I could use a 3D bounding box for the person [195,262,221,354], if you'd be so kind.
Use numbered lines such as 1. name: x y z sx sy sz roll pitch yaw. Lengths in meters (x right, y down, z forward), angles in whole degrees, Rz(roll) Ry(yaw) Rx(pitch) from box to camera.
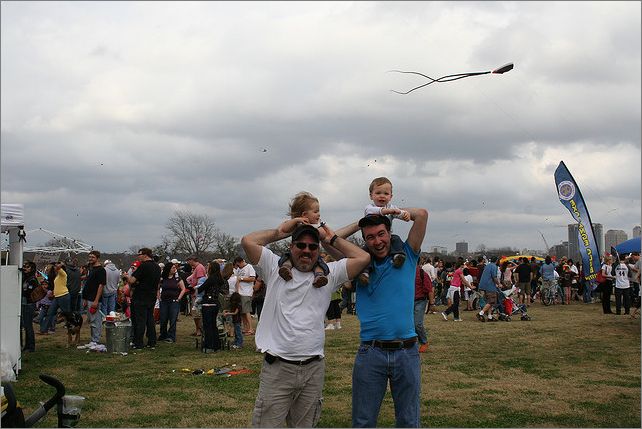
1. person: -3.320 2.737 15.817 0.907 2.603 0.886 5 -7 -42

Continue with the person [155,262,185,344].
1. person: -4.814 2.819 17.195 1.039 2.437 0.792 3 -13 -18

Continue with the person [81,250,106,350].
1. person: -6.866 2.565 16.286 0.654 2.875 1.265 1 -8 -23

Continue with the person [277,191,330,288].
1. person: -0.205 0.408 8.877 0.741 1.498 0.662 8 -24 -4

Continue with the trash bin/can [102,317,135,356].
1. trash bin/can: -5.892 3.499 15.620 0.705 1.113 0.681 1 -8 -22

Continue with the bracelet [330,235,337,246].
1. bracelet: 0.208 0.413 8.680 0.091 0.148 0.148 0 -11 -5

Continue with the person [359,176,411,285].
1. person: 1.110 0.191 9.202 0.804 1.752 1.010 11 -18 -34

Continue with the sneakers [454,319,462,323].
1. sneakers: 5.308 4.075 20.630 0.294 0.121 0.101 0 -2 -7

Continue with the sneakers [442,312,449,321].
1. sneakers: 4.842 3.972 20.813 0.236 0.181 0.548 -14 -43 11

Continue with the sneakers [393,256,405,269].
1. sneakers: 1.282 0.755 8.719 0.111 0.250 0.108 8 13 -14

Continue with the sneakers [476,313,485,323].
1. sneakers: 6.222 4.025 20.694 0.205 0.158 0.482 -17 -44 2

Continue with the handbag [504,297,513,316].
1. handbag: 7.301 3.574 20.777 0.345 0.627 0.734 -5 -8 19

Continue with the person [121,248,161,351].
1. person: -5.347 2.560 16.282 0.878 3.011 1.066 0 -8 -19

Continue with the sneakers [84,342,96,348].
1. sneakers: -6.893 3.897 16.105 0.444 0.192 0.167 0 -6 37

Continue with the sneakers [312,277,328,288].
1. sneakers: 0.003 1.072 8.511 0.246 0.127 0.115 5 14 -17

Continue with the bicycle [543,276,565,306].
1. bicycle: 11.299 3.746 26.044 1.985 1.170 0.885 4 -5 -35

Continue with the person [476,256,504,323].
1. person: 6.385 2.869 20.503 0.863 2.366 1.351 -4 -8 15

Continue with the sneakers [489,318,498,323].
1. sneakers: 6.675 4.050 20.612 0.142 0.107 0.402 -7 -11 42

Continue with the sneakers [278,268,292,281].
1. sneakers: -0.542 0.936 8.493 0.136 0.233 0.158 -18 13 -1

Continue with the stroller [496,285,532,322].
1. stroller: 7.574 3.407 21.058 1.251 1.386 0.882 -4 -1 16

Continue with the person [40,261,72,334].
1. person: -8.071 2.553 16.518 1.207 2.157 1.025 1 -7 -34
